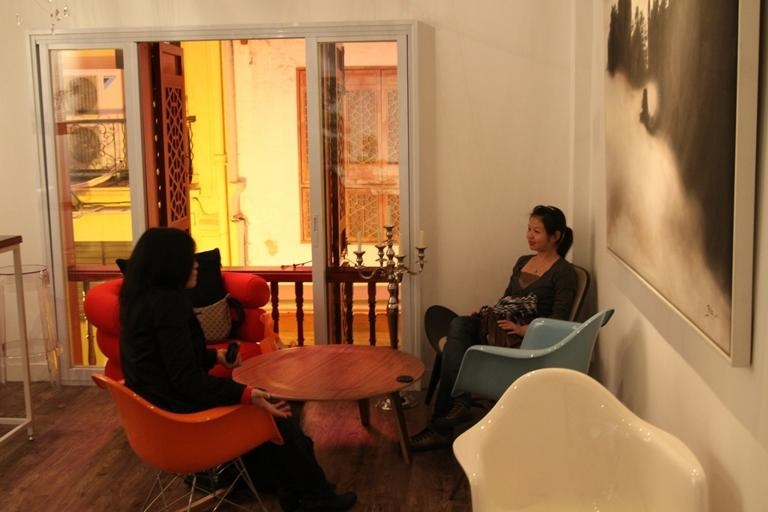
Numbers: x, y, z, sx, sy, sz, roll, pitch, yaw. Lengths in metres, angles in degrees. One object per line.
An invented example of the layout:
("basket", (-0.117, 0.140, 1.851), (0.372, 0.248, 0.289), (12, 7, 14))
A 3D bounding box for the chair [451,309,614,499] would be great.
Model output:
("chair", (0.873, 0.748, 3.852), (1.006, 1.327, 1.079), (2, 0, 15))

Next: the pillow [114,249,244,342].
("pillow", (-1.158, 0.248, 3.390), (0.518, 0.589, 0.208), (-5, -7, -29))

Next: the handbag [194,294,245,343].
("handbag", (-1.242, 0.505, 4.390), (0.375, 0.344, 0.303), (-13, -14, -6))

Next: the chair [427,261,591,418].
("chair", (0.833, 0.509, 4.571), (1.082, 1.501, 0.993), (4, 0, -12))

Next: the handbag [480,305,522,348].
("handbag", (0.760, 0.481, 4.026), (0.205, 0.261, 0.107), (-3, -11, -3))

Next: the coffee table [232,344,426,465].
("coffee table", (-0.348, 0.982, 3.833), (1.157, 0.556, 1.136), (1, 9, 34))

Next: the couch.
("couch", (-1.414, 0.402, 4.292), (0.837, 0.636, 1.035), (-6, -2, 44))
